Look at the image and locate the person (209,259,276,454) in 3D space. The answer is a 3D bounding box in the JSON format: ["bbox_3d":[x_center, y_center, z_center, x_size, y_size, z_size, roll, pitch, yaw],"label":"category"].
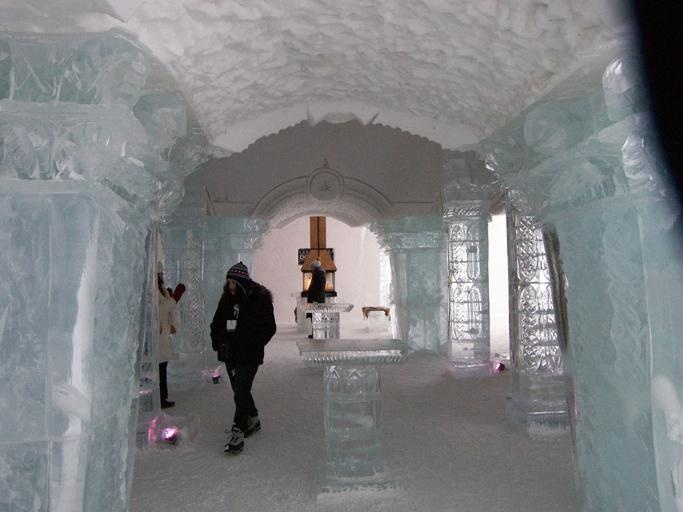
[{"bbox_3d":[-0.786,0.776,4.533,0.494,1.453,0.509,-1,2,-13],"label":"person"}]

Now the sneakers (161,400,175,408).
[{"bbox_3d":[-1.726,1.462,5.617,0.143,0.109,0.049,-3,2,-29],"label":"sneakers"}]

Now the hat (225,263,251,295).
[{"bbox_3d":[-0.800,0.171,4.532,0.181,0.226,0.216,5,-18,1],"label":"hat"}]

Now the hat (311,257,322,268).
[{"bbox_3d":[-0.408,0.111,9.660,0.122,0.069,0.173,2,-13,15],"label":"hat"}]

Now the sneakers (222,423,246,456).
[{"bbox_3d":[-0.818,1.408,4.420,0.200,0.210,0.189,-1,2,-31],"label":"sneakers"}]
